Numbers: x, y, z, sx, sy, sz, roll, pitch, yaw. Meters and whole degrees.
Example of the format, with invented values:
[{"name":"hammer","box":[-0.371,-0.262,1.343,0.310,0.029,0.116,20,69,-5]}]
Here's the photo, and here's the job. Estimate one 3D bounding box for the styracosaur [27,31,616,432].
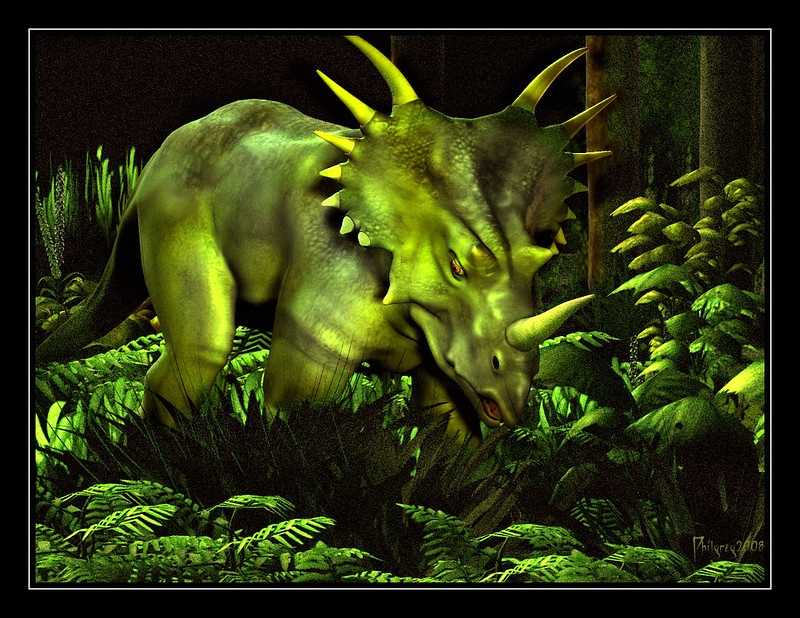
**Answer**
[{"name":"styracosaur","box":[-0.465,-0.112,4.732,3.133,1.776,1.225,11,10,31]}]
